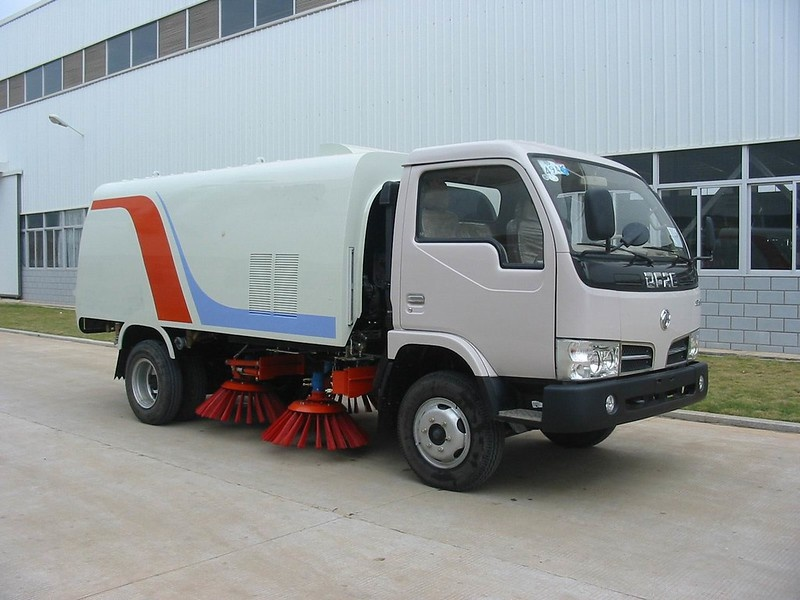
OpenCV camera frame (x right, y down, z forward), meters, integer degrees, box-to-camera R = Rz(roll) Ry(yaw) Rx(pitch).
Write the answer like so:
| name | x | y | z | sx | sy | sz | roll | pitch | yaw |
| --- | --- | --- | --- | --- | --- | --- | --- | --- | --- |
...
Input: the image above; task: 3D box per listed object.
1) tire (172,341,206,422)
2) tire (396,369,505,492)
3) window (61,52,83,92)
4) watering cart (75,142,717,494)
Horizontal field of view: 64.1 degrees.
| name | x | y | z | sx | sy | sz | roll | pitch | yaw |
| --- | --- | --- | --- | --- | --- | --- | --- | --- | --- |
| tire | -2.791 | 1.031 | 8.378 | 0.270 | 0.935 | 0.823 | -6 | -5 | -40 |
| tire | 0.497 | 1.225 | 6.008 | 0.952 | 1.107 | 0.387 | 5 | -2 | 38 |
| window | -14.790 | -10.316 | 28.758 | 1.679 | 1.921 | 0.065 | 12 | 1 | 40 |
| watering cart | -0.786 | -0.020 | 8.308 | 7.092 | 3.507 | 3.113 | 4 | 2 | 32 |
